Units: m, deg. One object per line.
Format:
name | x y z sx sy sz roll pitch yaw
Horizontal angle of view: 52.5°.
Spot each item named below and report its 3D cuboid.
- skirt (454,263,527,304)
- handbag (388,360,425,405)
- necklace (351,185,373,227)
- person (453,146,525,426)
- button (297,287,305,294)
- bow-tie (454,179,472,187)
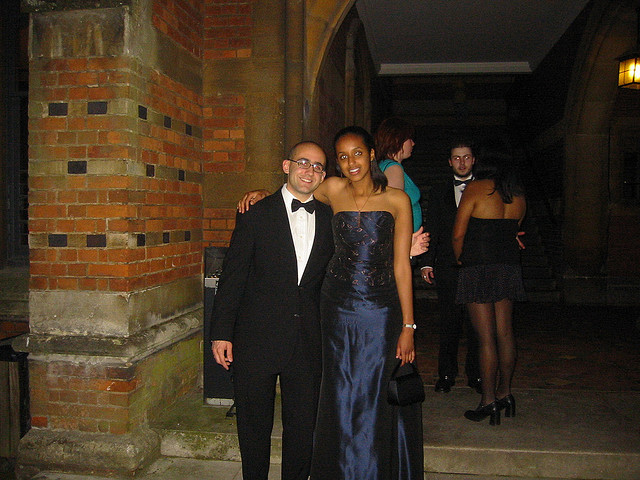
skirt | 1.427 0.370 5.588 0.404 0.346 0.661 3 -7 -37
handbag | 0.616 1.044 4.711 0.262 0.271 0.179 2 -1 -7
necklace | 0.300 -0.252 4.732 0.157 0.265 0.090 2 -1 5
person | 1.413 0.381 5.503 0.569 1.887 0.335 2 -1 9
button | -0.135 0.348 4.590 0.051 0.045 0.012 1 -2 -16
bow-tie | 1.315 -0.540 5.982 0.156 0.048 0.078 1 -1 41
